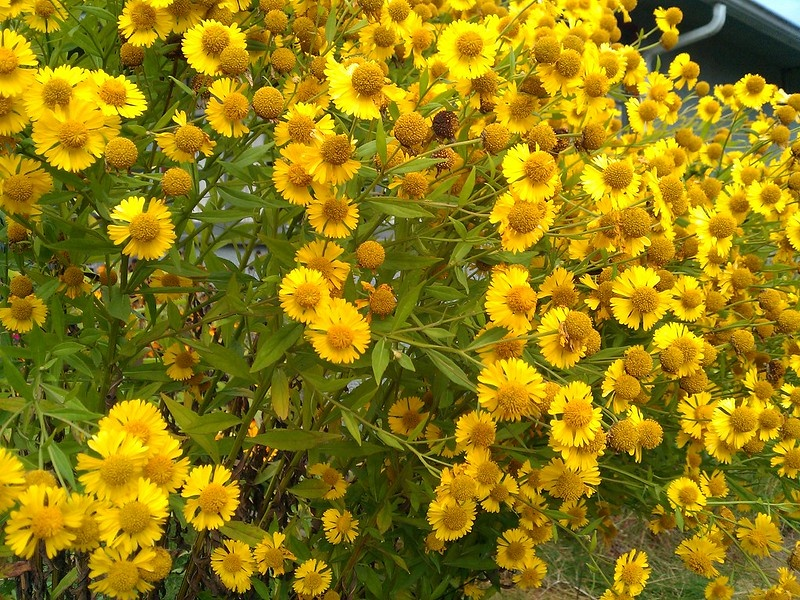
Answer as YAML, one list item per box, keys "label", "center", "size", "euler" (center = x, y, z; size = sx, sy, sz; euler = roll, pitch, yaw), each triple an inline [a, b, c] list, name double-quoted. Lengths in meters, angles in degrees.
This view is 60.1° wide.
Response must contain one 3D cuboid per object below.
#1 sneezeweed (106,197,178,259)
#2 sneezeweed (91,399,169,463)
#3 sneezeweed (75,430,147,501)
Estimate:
- label: "sneezeweed"
  center: [-0.597, -0.163, 1.618]
  size: [0.150, 0.142, 0.058]
  euler: [-2, 70, -9]
- label: "sneezeweed"
  center: [-0.587, 0.263, 1.530]
  size: [0.103, 0.042, 0.104]
  euler: [21, 92, -14]
- label: "sneezeweed"
  center: [-0.614, 0.350, 1.473]
  size: [0.135, 0.107, 0.130]
  euler: [31, 50, -11]
